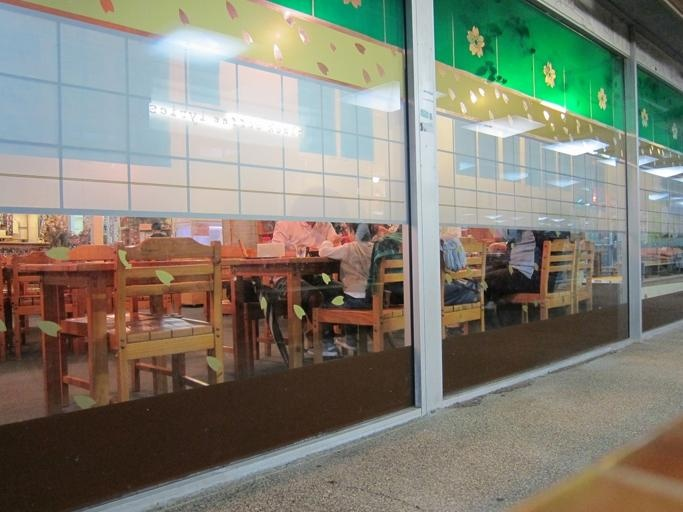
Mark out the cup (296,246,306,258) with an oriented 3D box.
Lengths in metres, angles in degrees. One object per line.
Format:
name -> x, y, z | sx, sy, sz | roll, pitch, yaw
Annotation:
cup -> -0.195, -0.023, 2.547 | 0.044, 0.062, 0.060 | 5, 8, 30
